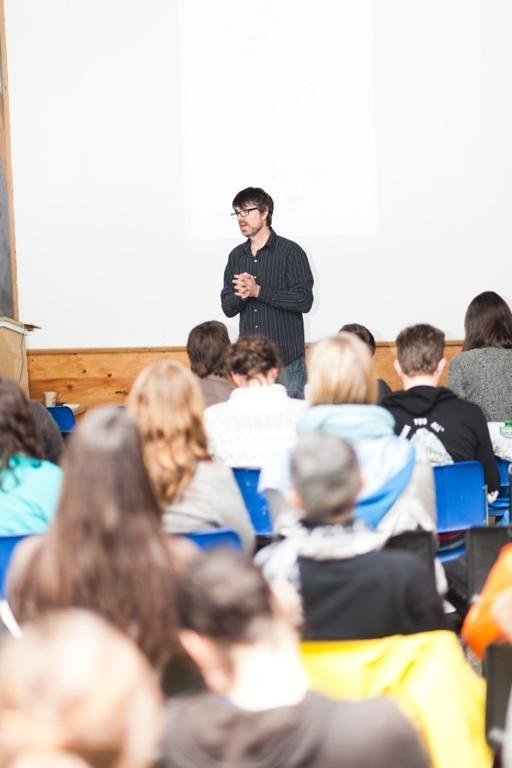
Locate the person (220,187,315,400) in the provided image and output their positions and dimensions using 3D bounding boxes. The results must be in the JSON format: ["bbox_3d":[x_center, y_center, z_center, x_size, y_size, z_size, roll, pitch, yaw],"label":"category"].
[{"bbox_3d":[0.045,-0.304,3.810,0.604,1.606,0.495,3,18,17],"label":"person"}]
